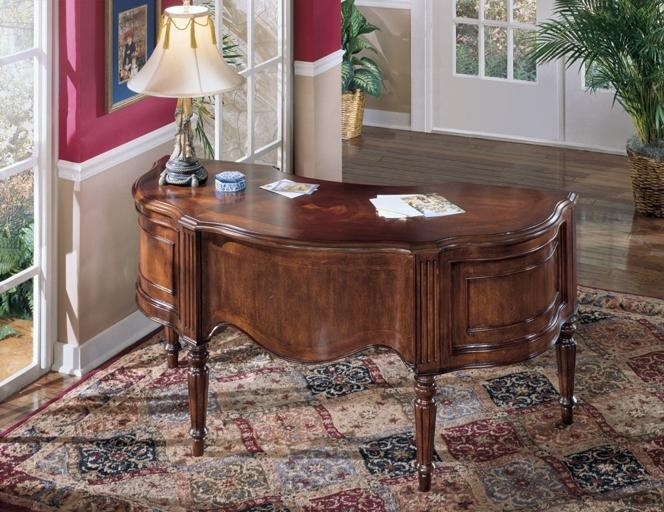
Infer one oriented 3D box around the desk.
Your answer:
[{"bbox_3d":[0.028,0.288,2.741,1.855,0.690,0.806,1,10,17],"label":"desk"}]
